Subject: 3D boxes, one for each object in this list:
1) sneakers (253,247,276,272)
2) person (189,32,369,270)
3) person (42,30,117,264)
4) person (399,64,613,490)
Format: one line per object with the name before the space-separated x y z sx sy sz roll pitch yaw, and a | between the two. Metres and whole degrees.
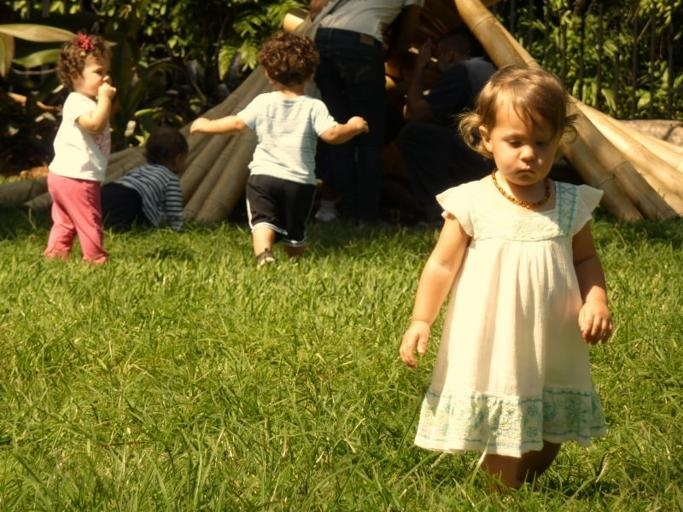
sneakers | -0.458 0.018 4.347 0.113 0.097 0.220 -2 -4 -12
person | -0.417 -0.687 4.545 0.833 1.379 0.694 -1 14 -25
person | -1.565 -0.643 4.367 0.386 1.324 0.617 -1 14 -23
person | 0.582 0.085 2.411 0.656 1.371 0.452 9 13 19
